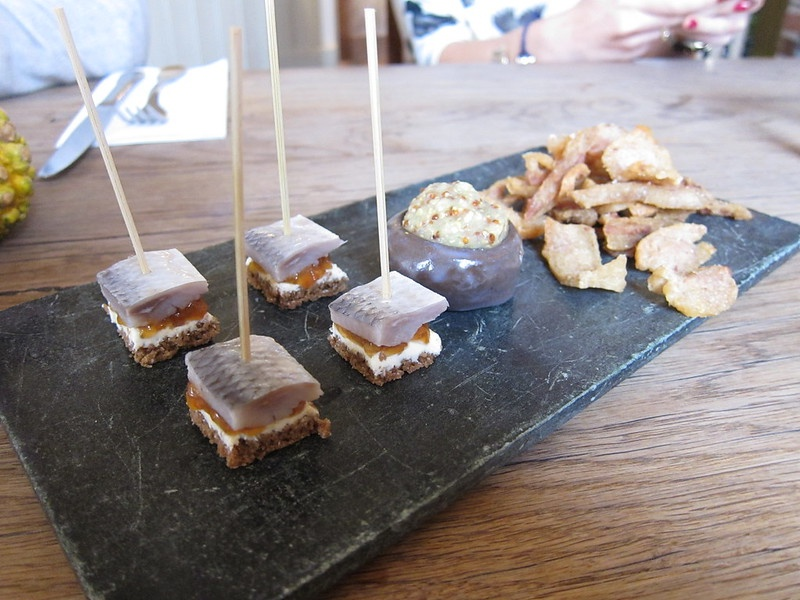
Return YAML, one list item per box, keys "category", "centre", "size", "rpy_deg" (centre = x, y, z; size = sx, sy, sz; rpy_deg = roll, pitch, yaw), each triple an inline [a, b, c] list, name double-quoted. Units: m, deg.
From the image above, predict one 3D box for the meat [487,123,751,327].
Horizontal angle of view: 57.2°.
- category: "meat"
  centre: [0.748, -0.423, 2.803]
  size: [0.758, 0.716, 0.136]
  rpy_deg: [8, 60, 30]

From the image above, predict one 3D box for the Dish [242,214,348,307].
- category: "Dish"
  centre: [-0.363, -0.122, 2.604]
  size: [0.358, 0.158, 0.332]
  rpy_deg: [-5, 21, -7]

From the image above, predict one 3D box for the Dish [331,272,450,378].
- category: "Dish"
  centre: [-0.032, 0.070, 2.315]
  size: [0.391, 0.187, 0.361]
  rpy_deg: [14, 36, 36]

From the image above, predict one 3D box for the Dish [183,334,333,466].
- category: "Dish"
  centre: [-0.423, 0.267, 2.089]
  size: [0.311, 0.179, 0.328]
  rpy_deg: [29, 34, 35]

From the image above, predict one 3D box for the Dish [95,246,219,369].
- category: "Dish"
  centre: [-0.750, 0.065, 2.398]
  size: [0.391, 0.265, 0.364]
  rpy_deg: [-24, 59, -30]
